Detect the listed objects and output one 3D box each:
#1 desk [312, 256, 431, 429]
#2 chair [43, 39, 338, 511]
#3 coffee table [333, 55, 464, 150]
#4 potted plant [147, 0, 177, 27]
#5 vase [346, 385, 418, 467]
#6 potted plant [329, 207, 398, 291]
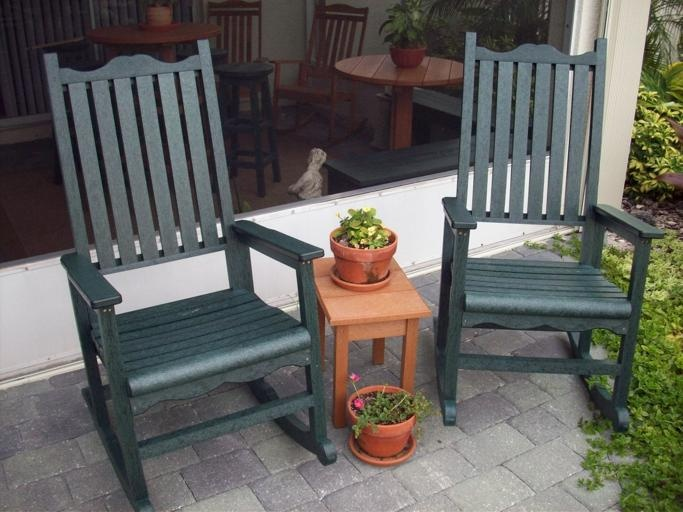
[{"bbox_3d":[0.075,0.301,2.466,0.573,0.668,0.664,-9,41,-12],"label":"desk"},{"bbox_3d":[-0.672,-0.013,2.107,0.919,1.470,1.298,-15,31,-22],"label":"chair"},{"bbox_3d":[0.312,-0.775,3.154,0.655,0.641,0.578,-10,42,-9],"label":"coffee table"},{"bbox_3d":[-0.800,-1.055,2.388,0.109,0.081,0.116,-17,24,-42],"label":"potted plant"},{"bbox_3d":[0.149,0.671,2.145,0.283,0.176,0.262,1,14,-7],"label":"vase"},{"bbox_3d":[0.089,-0.055,2.333,0.306,0.306,0.279,-4,26,-14],"label":"potted plant"}]
